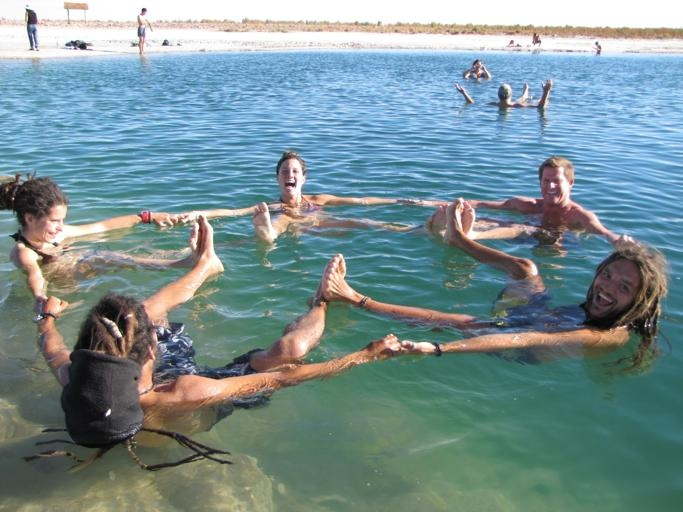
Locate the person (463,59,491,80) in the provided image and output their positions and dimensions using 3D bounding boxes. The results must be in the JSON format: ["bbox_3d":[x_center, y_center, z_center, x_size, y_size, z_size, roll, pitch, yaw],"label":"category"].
[{"bbox_3d":[6.038,-8.181,28.749,1.524,0.577,1.622,-1,-6,12],"label":"person"}]
